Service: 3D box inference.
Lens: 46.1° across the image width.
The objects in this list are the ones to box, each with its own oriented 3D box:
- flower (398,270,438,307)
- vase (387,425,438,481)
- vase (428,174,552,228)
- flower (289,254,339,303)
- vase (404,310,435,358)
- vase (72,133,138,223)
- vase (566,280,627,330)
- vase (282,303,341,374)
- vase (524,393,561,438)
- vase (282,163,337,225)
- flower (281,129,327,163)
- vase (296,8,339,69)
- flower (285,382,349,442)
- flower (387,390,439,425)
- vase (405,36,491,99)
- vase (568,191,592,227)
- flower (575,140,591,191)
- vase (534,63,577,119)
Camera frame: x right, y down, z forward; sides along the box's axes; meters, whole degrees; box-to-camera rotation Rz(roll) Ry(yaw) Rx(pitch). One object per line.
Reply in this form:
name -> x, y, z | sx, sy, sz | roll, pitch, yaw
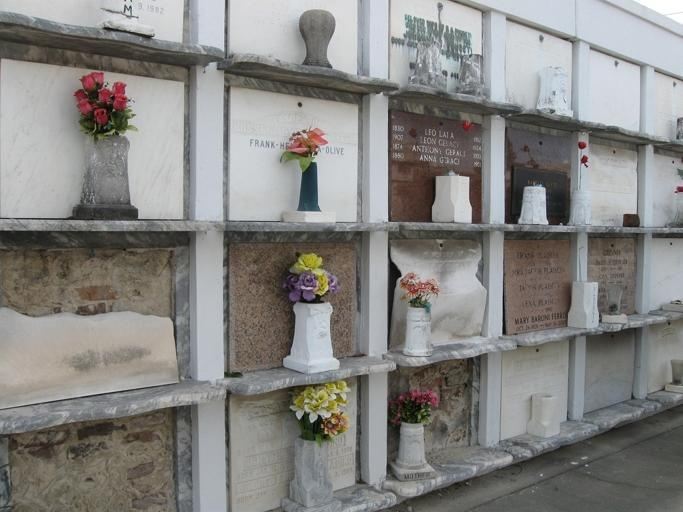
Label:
flower -> 0.493, 0.210, 5.104 | 0.212, 0.224, 0.216 | 1, -4, -21
vase -> 0.456, 1.244, 5.115 | 0.327, 0.326, 0.360 | 1, 0, 21
vase -> 1.030, -0.343, 5.486 | 1.036, 0.411, 0.310 | 1, 0, -32
flower -> -0.166, 0.127, 4.640 | 0.294, 0.283, 0.202 | 0, 2, 9
vase -> 0.491, 0.477, 5.085 | 0.197, 0.306, 0.196 | 0, 1, -44
vase -> -1.238, -0.391, 4.193 | 0.363, 0.439, 0.399 | -3, -5, 9
vase -> 1.997, 0.357, 5.978 | 0.522, 0.429, 0.271 | -4, 6, -33
vase -> -0.160, 0.452, 4.761 | 0.346, 0.495, 0.337 | -4, 6, -29
vase -> 1.465, 1.149, 5.760 | 0.247, 0.294, 0.133 | -2, 2, -25
vase -> -0.166, -0.360, 4.607 | 0.293, 0.464, 0.324 | 2, 3, 33
flower -> -0.185, -0.655, 4.651 | 0.302, 0.208, 0.219 | -2, 3, -23
vase -> -0.131, -1.265, 4.645 | 0.194, 0.367, 0.193 | -2, 2, -27
flower -> -0.143, 0.903, 4.669 | 0.332, 0.372, 0.326 | 2, -11, -9
flower -> 0.453, 0.977, 5.098 | 0.268, 0.229, 0.199 | 1, 3, 38
vase -> 0.675, -1.232, 5.194 | 0.699, 0.383, 0.222 | -3, 3, -37
vase -> 1.754, -0.360, 5.898 | 0.147, 0.257, 0.176 | 0, 2, 14
flower -> 1.806, -0.698, 6.039 | 0.098, 0.364, 0.086 | 2, -6, 13
vase -> 1.558, -1.158, 5.870 | 0.316, 0.406, 0.351 | 6, -14, 0
